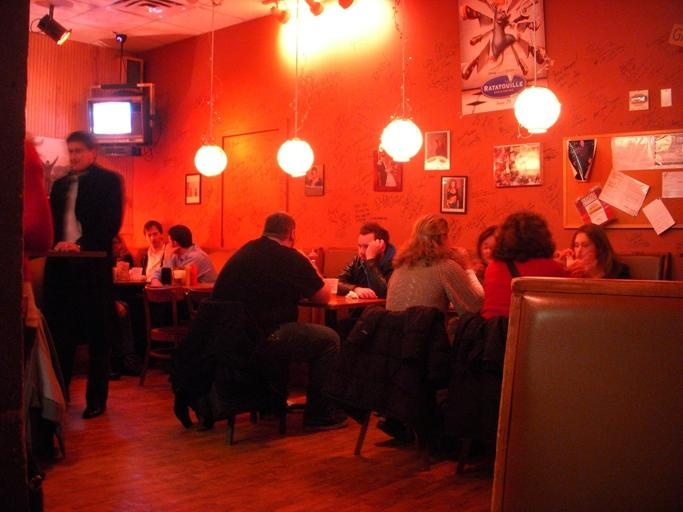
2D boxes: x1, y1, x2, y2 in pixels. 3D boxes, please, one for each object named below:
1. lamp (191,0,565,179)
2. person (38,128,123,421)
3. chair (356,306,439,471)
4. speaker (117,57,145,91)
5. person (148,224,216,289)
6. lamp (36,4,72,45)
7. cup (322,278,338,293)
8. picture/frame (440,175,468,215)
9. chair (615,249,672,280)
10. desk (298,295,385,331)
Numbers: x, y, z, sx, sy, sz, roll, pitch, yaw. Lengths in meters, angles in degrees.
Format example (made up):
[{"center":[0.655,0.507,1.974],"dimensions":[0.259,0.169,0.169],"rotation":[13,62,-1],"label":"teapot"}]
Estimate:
[{"center":[-0.049,-1.922,6.160],"dimensions":[4.481,1.596,1.002],"rotation":[1,1,38],"label":"lamp"},{"center":[-1.777,0.132,4.113],"dimensions":[0.497,2.004,0.420],"rotation":[1,0,-21],"label":"person"},{"center":[0.287,0.644,3.246],"dimensions":[0.567,0.687,0.298],"rotation":[1,0,10],"label":"chair"},{"center":[-3.136,-2.740,8.860],"dimensions":[0.361,0.282,0.258],"rotation":[0,1,-21],"label":"speaker"},{"center":[-1.579,0.004,6.187],"dimensions":[0.747,0.767,0.546],"rotation":[2,-4,-34],"label":"person"},{"center":[-2.934,-2.372,6.059],"dimensions":[0.256,0.406,0.488],"rotation":[0,1,-38],"label":"lamp"},{"center":[-0.079,0.228,4.722],"dimensions":[0.100,0.130,0.184],"rotation":[0,-1,24],"label":"cup"},{"center":[1.111,-0.592,5.833],"dimensions":[0.049,0.488,0.358],"rotation":[-1,4,-44],"label":"picture/frame"},{"center":[2.219,0.071,4.368],"dimensions":[0.200,0.196,0.142],"rotation":[-3,-8,33],"label":"chair"},{"center":[-0.020,0.401,4.372],"dimensions":[0.459,0.448,0.450],"rotation":[4,-5,-43],"label":"desk"}]
